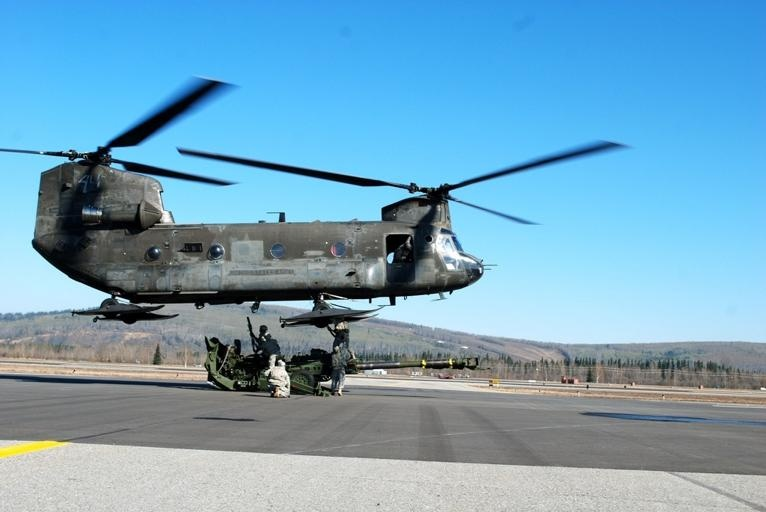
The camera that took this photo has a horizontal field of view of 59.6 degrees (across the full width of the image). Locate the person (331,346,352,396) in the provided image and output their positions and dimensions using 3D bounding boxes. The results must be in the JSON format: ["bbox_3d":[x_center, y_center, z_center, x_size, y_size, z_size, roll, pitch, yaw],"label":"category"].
[{"bbox_3d":[-1.636,4.227,24.957,0.733,1.893,1.283,4,-9,-3],"label":"person"}]

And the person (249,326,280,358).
[{"bbox_3d":[-4.344,3.211,24.579,1.115,1.131,0.563,11,5,23],"label":"person"}]

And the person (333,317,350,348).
[{"bbox_3d":[-1.592,2.869,24.792,0.557,0.985,0.800,4,-8,-5],"label":"person"}]

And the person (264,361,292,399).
[{"bbox_3d":[-3.599,4.225,23.157,0.747,1.244,0.719,-1,-10,27],"label":"person"}]
